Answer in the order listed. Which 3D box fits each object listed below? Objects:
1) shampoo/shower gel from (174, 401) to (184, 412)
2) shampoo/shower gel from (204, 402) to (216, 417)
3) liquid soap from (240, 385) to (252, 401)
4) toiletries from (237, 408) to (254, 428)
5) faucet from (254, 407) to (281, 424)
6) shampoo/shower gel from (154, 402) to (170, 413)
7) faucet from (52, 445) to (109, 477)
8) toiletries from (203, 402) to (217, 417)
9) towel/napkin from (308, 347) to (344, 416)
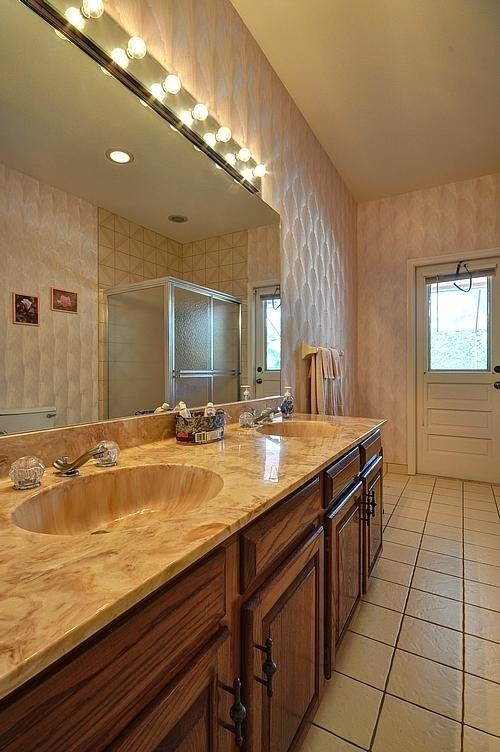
[{"bbox_3d":[-0.225,0.091,1.423,0.018,0.028,0.062,1,-5,-4],"label":"shampoo/shower gel"},{"bbox_3d":[-0.127,0.105,1.443,0.036,0.071,0.036,-5,-7,39],"label":"shampoo/shower gel"},{"bbox_3d":[-0.019,0.064,1.893,0.048,0.079,0.048,-6,8,-39],"label":"liquid soap"},{"bbox_3d":[-0.017,0.167,1.763,0.045,0.061,0.049,-4,-6,29],"label":"toiletries"},{"bbox_3d":[0.081,0.168,1.981,0.042,0.071,0.223,1,0,25],"label":"faucet"},{"bbox_3d":[-0.275,0.089,1.401,0.022,0.033,0.032,24,21,17],"label":"shampoo/shower gel"},{"bbox_3d":[-0.361,0.178,0.965,0.099,0.047,0.052,-1,2,2],"label":"faucet"},{"bbox_3d":[-0.128,0.106,1.450,0.038,0.072,0.036,-4,-5,42],"label":"toiletries"},{"bbox_3d":[0.440,0.034,2.647,0.104,0.500,0.381,-1,-2,28],"label":"towel/napkin"}]
